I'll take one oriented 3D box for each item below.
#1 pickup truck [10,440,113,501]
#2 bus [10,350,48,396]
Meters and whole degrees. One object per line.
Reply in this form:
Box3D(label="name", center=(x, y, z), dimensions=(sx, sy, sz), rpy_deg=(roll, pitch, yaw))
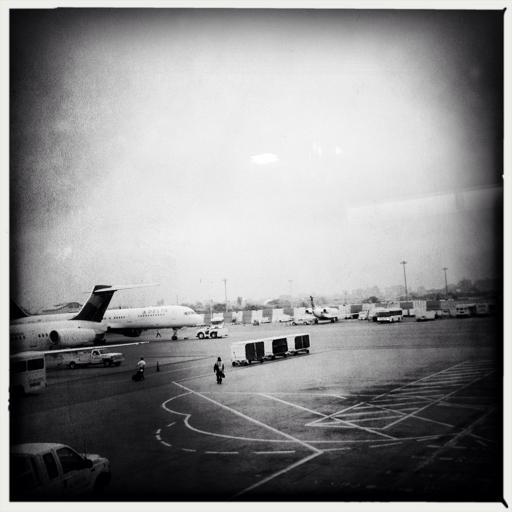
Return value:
Box3D(label="pickup truck", center=(-3.926, 4.236, 10.547), dimensions=(1.858, 1.229, 1.184), rpy_deg=(0, -4, -37))
Box3D(label="bus", center=(-5.823, 2.977, 13.350), dimensions=(1.140, 1.237, 0.722), rpy_deg=(-8, -10, 39))
